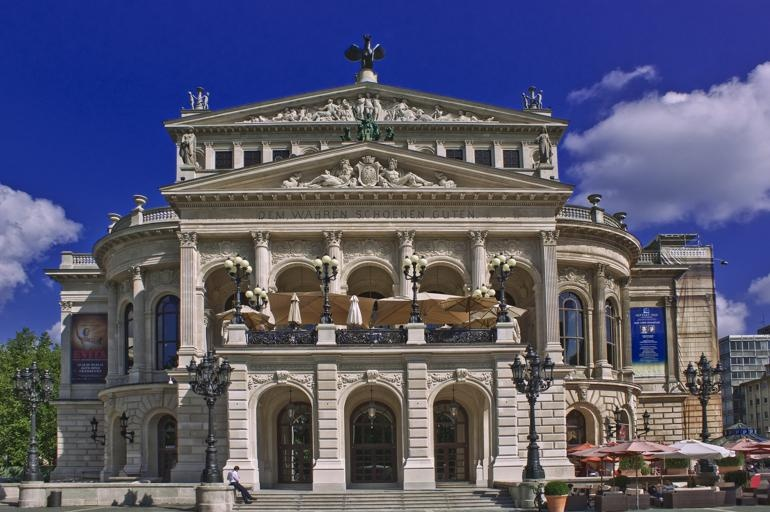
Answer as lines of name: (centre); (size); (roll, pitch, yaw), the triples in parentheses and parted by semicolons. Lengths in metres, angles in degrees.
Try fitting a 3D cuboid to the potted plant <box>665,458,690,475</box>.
potted plant: (20.634, 15.017, 116.119); (1.562, 0.891, 1.545); (-3, -13, 7)
